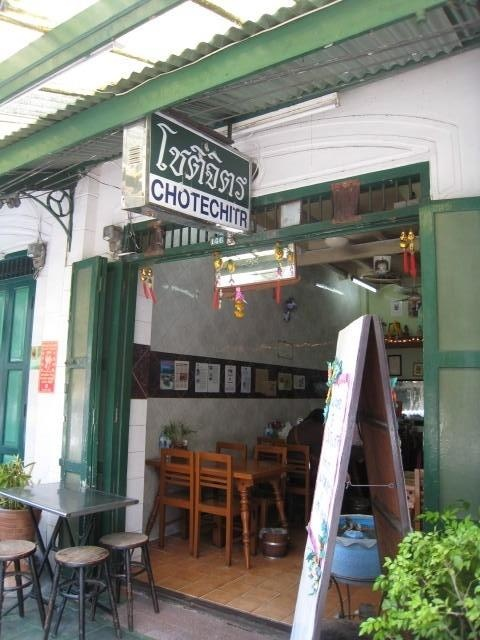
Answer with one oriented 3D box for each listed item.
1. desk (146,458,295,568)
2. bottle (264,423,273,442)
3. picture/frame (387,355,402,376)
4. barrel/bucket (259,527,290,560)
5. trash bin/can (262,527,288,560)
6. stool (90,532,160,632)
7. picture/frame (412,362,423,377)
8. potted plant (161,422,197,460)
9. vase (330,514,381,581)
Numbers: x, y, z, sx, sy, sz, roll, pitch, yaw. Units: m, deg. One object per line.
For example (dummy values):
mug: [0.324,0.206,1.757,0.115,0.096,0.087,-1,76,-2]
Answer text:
desk: [-0.190,1.695,4.868,1.146,0.767,0.689,-5,-10,37]
bottle: [0.378,1.454,6.942,0.061,0.212,0.081,3,-3,5]
picture/frame: [2.872,0.855,9.981,0.267,0.413,0.342,3,-7,-26]
barrel/bucket: [0.309,1.931,4.601,0.221,0.190,0.236,-1,-19,0]
trash bin/can: [0.307,1.937,4.645,0.205,0.181,0.226,1,-21,-3]
stool: [-0.716,1.664,3.446,0.368,0.486,0.362,-2,-6,-25]
picture/frame: [3.248,0.904,9.730,0.140,0.329,0.103,-1,-7,10]
potted plant: [-0.609,1.192,5.300,0.288,0.357,0.304,1,-4,0]
vase: [0.511,0.997,2.337,0.206,0.227,0.203,7,0,-38]
